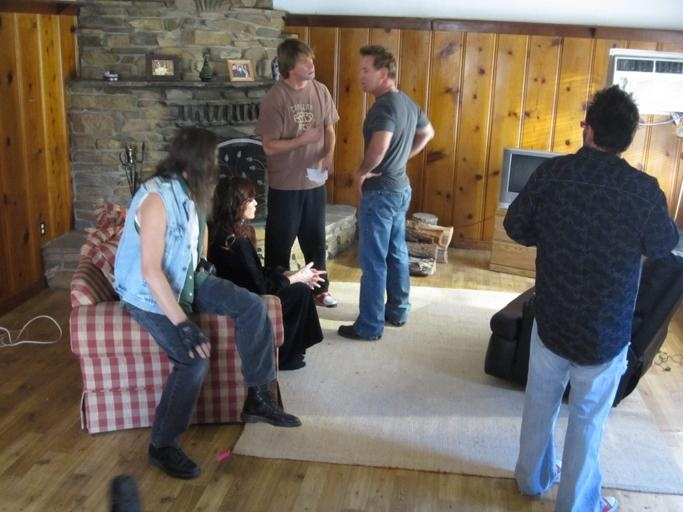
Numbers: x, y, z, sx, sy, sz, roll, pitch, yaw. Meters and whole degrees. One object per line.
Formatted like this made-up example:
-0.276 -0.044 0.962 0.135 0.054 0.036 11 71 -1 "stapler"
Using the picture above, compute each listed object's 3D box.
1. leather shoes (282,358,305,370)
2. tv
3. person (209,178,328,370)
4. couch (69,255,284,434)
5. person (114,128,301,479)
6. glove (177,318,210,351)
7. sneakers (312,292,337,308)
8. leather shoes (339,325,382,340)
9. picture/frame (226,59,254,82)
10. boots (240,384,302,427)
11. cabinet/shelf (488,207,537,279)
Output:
-0.315 0.711 3.541 0.123 0.045 0.075 -6 15 -13 "leather shoes"
1.785 -0.768 5.375 0.561 0.537 0.307 4 5 -16 "tv"
-0.471 0.119 3.399 0.726 1.191 0.445 -3 14 -12 "person"
-0.915 0.572 3.312 0.990 0.962 0.987 0 16 -4 "couch"
-0.691 0.218 2.659 0.708 1.645 0.458 -11 20 -30 "person"
-0.687 0.382 2.518 0.107 0.178 0.042 -36 27 -31 "glove"
-0.127 0.367 4.515 0.219 0.100 0.087 2 15 10 "sneakers"
0.142 0.570 3.952 0.284 0.123 0.121 14 6 6 "leather shoes"
-1.014 -1.845 5.339 0.255 0.251 0.021 -7 -5 -36 "picture/frame"
-0.383 0.789 2.892 0.374 0.262 0.138 3 10 -10 "boots"
1.327 -0.062 4.163 0.368 0.552 0.564 5 14 16 "cabinet/shelf"
